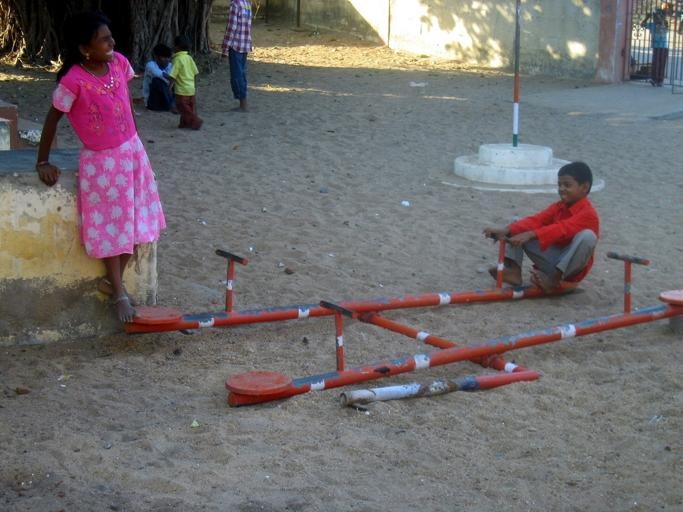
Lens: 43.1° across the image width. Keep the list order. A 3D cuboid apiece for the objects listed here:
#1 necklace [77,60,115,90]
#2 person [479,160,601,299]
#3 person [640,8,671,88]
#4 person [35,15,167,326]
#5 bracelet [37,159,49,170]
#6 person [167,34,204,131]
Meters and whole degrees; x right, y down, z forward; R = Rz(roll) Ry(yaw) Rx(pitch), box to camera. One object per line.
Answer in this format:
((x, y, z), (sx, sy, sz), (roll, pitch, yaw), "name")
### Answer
((-1.627, -1.196, 5.741), (0.225, 0.050, 0.168), (33, 46, 26), "necklace")
((1.643, -0.260, 7.214), (1.043, 0.854, 0.991), (3, 16, 38), "person")
((6.117, -4.079, 16.855), (0.504, 1.572, 0.662), (2, 17, 14), "person")
((-1.643, -0.804, 5.895), (0.775, 1.629, 0.333), (-16, 22, -42), "person")
((-2.021, -0.613, 5.817), (0.088, 0.058, 0.098), (-5, 13, -17), "bracelet")
((-2.256, -2.465, 12.341), (0.386, 1.319, 0.604), (-5, 16, -9), "person")
